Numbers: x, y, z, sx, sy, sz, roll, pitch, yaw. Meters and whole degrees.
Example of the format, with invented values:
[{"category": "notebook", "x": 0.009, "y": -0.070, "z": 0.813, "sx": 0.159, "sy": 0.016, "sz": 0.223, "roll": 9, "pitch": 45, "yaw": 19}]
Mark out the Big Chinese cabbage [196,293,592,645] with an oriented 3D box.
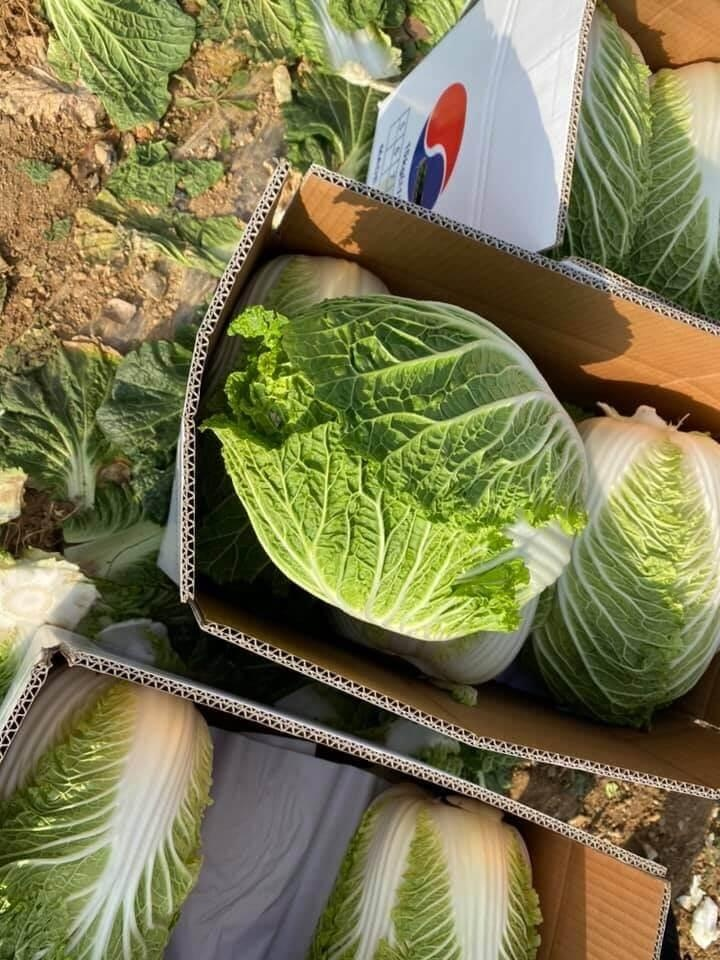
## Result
[{"category": "Big Chinese cabbage", "x": -0.071, "y": 0.136, "z": 2.034, "sx": 1.082, "sy": 0.924, "sz": 0.440, "roll": 35, "pitch": 62, "yaw": -28}]
